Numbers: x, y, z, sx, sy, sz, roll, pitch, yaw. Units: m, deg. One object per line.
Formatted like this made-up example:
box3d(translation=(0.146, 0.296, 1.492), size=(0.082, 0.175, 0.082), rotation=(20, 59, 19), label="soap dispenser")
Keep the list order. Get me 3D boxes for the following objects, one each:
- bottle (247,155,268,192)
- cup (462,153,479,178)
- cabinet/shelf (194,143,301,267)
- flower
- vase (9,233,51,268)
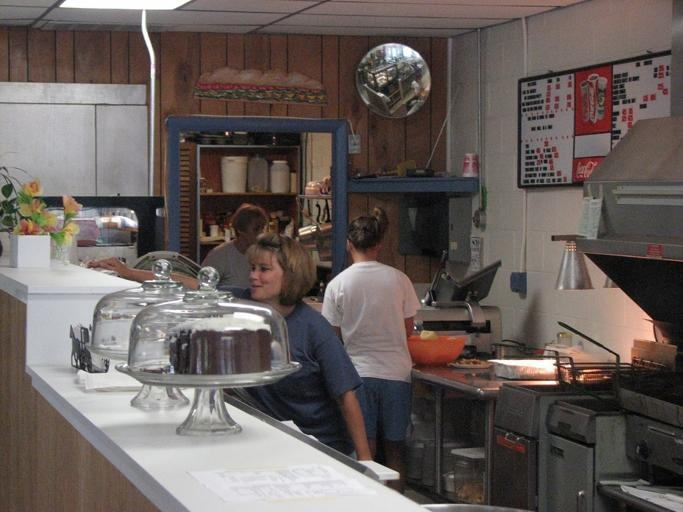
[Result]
box3d(translation=(-0.777, -0.750, 6.522), size=(0.209, 0.344, 0.207), rotation=(-2, -3, 0), label="bottle")
box3d(translation=(0.942, -0.662, 5.109), size=(0.138, 0.210, 0.152), rotation=(-1, 2, 0), label="cup")
box3d(translation=(-0.883, -0.419, 6.450), size=(0.958, 0.486, 1.724), rotation=(-4, 40, -1), label="cabinet/shelf")
box3d(translation=(-1.240, -0.166, 3.067), size=(0.228, 0.146, 0.224), rotation=(-2, -16, -38), label="flower")
box3d(translation=(-1.324, -0.019, 2.998), size=(0.148, 0.144, 0.145), rotation=(2, -1, -21), label="vase")
